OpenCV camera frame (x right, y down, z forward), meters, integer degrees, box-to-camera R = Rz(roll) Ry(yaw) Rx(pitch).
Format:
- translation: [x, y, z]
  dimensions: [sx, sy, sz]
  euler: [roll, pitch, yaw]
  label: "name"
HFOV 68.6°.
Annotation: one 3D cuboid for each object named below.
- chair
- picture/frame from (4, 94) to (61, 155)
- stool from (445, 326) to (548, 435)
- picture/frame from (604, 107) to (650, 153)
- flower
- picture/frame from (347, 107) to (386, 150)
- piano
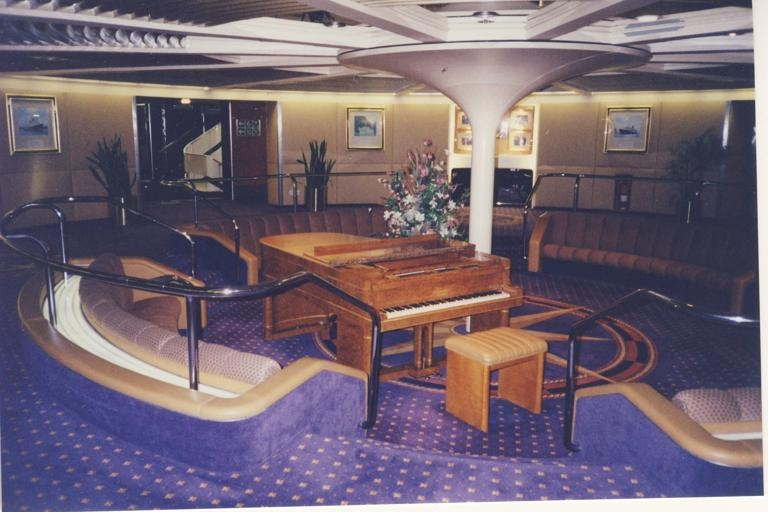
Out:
- translation: [2.087, 1.195, 4.160]
  dimensions: [0.582, 0.427, 1.294]
  euler: [-7, 14, -28]
  label: "chair"
- translation: [-6.307, -2.364, 10.116]
  dimensions: [0.064, 0.994, 0.867]
  euler: [11, 18, 37]
  label: "picture/frame"
- translation: [1.095, 1.183, 5.583]
  dimensions: [0.870, 0.792, 0.554]
  euler: [-8, 16, -29]
  label: "stool"
- translation: [5.457, -2.826, 12.548]
  dimensions: [1.109, 1.051, 0.086]
  euler: [9, 7, 33]
  label: "picture/frame"
- translation: [0.440, -0.782, 6.788]
  dimensions: [0.827, 1.205, 0.636]
  euler: [0, 14, 0]
  label: "flower"
- translation: [-0.472, -3.145, 13.709]
  dimensions: [1.222, 1.024, 0.077]
  euler: [-1, 9, -10]
  label: "picture/frame"
- translation: [-0.055, 0.578, 6.410]
  dimensions: [1.681, 1.230, 2.844]
  euler: [-7, 10, -38]
  label: "piano"
